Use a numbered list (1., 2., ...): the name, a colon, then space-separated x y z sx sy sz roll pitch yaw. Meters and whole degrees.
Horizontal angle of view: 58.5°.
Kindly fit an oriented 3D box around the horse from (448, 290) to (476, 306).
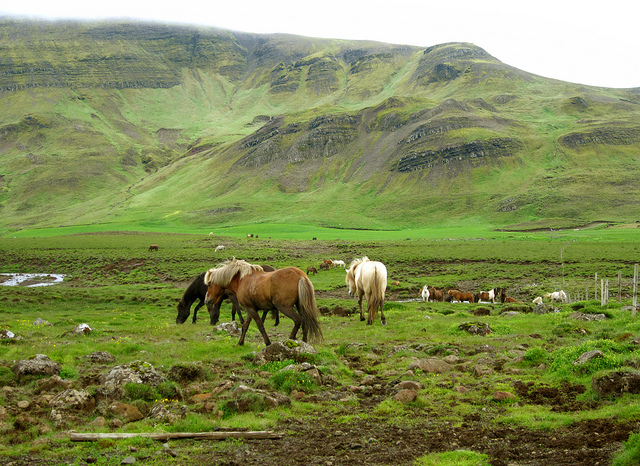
1. horse: 11.323 5.025 45.032 1.958 0.978 1.509 -2 8 10

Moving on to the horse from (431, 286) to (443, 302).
1. horse: 9.269 4.829 44.872 0.772 0.930 0.727 -3 9 8
